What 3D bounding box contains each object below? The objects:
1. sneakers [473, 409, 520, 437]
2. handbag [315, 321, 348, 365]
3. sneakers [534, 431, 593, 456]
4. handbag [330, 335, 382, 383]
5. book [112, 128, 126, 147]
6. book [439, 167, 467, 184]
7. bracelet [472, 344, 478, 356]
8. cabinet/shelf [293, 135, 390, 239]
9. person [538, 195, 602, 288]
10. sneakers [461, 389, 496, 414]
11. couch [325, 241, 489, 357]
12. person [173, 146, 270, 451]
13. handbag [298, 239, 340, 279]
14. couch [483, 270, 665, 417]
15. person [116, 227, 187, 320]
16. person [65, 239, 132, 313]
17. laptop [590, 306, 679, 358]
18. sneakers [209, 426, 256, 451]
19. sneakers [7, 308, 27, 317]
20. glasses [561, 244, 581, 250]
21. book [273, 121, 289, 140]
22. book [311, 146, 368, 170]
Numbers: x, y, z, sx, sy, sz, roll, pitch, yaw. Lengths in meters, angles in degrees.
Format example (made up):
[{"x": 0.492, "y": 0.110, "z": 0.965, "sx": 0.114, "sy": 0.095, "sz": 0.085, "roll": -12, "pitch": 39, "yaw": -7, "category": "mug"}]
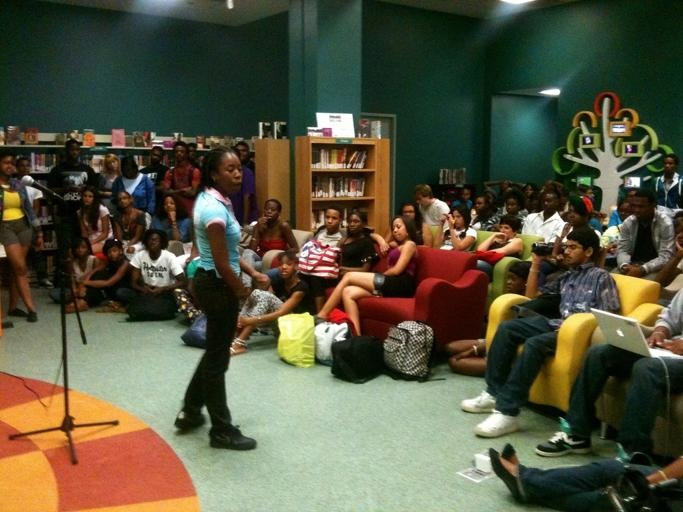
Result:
[{"x": 1.036, "y": 1.113, "z": 3.559, "sx": 0.370, "sy": 0.138, "sz": 0.127, "roll": -1, "pitch": 4, "yaw": -23, "category": "sneakers"}, {"x": -0.088, "y": 0.787, "z": 4.688, "sx": 0.377, "sy": 0.305, "sz": 0.197, "roll": -5, "pitch": -13, "yaw": 24, "category": "handbag"}, {"x": 1.451, "y": 1.173, "z": 3.325, "sx": 0.414, "sy": 0.147, "sz": 0.124, "roll": 1, "pitch": 3, "yaw": -3, "category": "sneakers"}, {"x": 0.146, "y": 0.868, "z": 4.523, "sx": 0.313, "sy": 0.321, "sz": 0.399, "roll": 8, "pitch": 13, "yaw": 37, "category": "handbag"}, {"x": -4.068, "y": -2.128, "z": 9.526, "sx": 0.213, "sy": 0.316, "sz": 0.181, "roll": -5, "pitch": 12, "yaw": -21, "category": "book"}, {"x": 2.541, "y": -1.770, "z": 11.709, "sx": 0.961, "sy": 0.378, "sz": 0.433, "roll": -6, "pitch": 12, "yaw": -28, "category": "book"}, {"x": 1.173, "y": 0.833, "z": 4.622, "sx": 0.038, "sy": 0.066, "sz": 0.056, "roll": 2, "pitch": 8, "yaw": -9, "category": "bracelet"}, {"x": -0.038, "y": -1.036, "z": 7.636, "sx": 1.977, "sy": 1.840, "sz": 0.597, "roll": -1, "pitch": 3, "yaw": -25, "category": "cabinet/shelf"}, {"x": 2.287, "y": -0.047, "z": 5.305, "sx": 0.768, "sy": 1.130, "sz": 0.563, "roll": -3, "pitch": -9, "yaw": 24, "category": "person"}, {"x": 1.010, "y": 1.070, "z": 3.817, "sx": 0.285, "sy": 0.104, "sz": 0.111, "roll": 1, "pitch": 3, "yaw": 1, "category": "sneakers"}, {"x": 0.620, "y": 0.377, "z": 5.222, "sx": 0.982, "sy": 0.979, "sz": 1.642, "roll": -1, "pitch": 4, "yaw": -35, "category": "couch"}, {"x": -0.844, "y": 0.276, "z": 3.306, "sx": 0.517, "sy": 1.884, "sz": 0.454, "roll": -4, "pitch": 12, "yaw": -15, "category": "person"}, {"x": -0.232, "y": 0.046, "z": 5.622, "sx": 0.473, "sy": 0.322, "sz": 0.224, "roll": 8, "pitch": -9, "yaw": 0, "category": "handbag"}, {"x": 1.824, "y": 0.471, "z": 4.047, "sx": 1.245, "sy": 1.030, "sz": 1.127, "roll": -1, "pitch": 4, "yaw": -30, "category": "couch"}, {"x": -2.340, "y": 0.205, "z": 6.473, "sx": 0.777, "sy": 0.968, "sz": 0.840, "roll": 8, "pitch": 16, "yaw": 8, "category": "person"}, {"x": -3.178, "y": 0.242, "z": 6.858, "sx": 0.585, "sy": 0.842, "sz": 0.957, "roll": 21, "pitch": 22, "yaw": 38, "category": "person"}, {"x": 1.746, "y": 0.418, "z": 3.084, "sx": 0.334, "sy": 0.177, "sz": 0.322, "roll": -4, "pitch": 8, "yaw": -23, "category": "laptop"}, {"x": -0.700, "y": 1.152, "z": 3.346, "sx": 0.349, "sy": 0.132, "sz": 0.119, "roll": 1, "pitch": 0, "yaw": 1, "category": "sneakers"}, {"x": -3.833, "y": 0.676, "z": 6.289, "sx": 0.301, "sy": 0.101, "sz": 0.091, "roll": 2, "pitch": 0, "yaw": 5, "category": "sneakers"}, {"x": 1.761, "y": -0.071, "z": 4.007, "sx": 0.091, "sy": 0.022, "sz": 0.084, "roll": 3, "pitch": -2, "yaw": -39, "category": "glasses"}, {"x": -0.937, "y": -1.935, "z": 8.118, "sx": 0.180, "sy": 0.254, "sz": 0.213, "roll": -3, "pitch": 11, "yaw": -14, "category": "book"}, {"x": -0.011, "y": -1.477, "z": 7.921, "sx": 0.980, "sy": 0.322, "sz": 0.242, "roll": -8, "pitch": 13, "yaw": -37, "category": "book"}]
